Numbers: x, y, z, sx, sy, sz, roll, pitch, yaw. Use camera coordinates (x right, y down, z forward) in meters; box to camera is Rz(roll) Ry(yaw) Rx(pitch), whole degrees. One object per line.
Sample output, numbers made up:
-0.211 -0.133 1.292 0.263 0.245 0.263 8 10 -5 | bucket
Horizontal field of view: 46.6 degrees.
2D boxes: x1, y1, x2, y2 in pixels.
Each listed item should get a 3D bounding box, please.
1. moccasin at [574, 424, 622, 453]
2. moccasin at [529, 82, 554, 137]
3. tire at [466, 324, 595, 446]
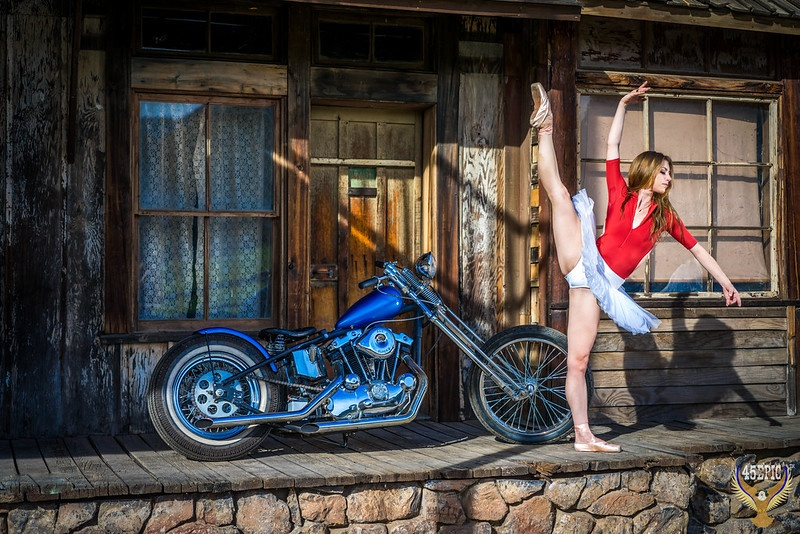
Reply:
1.616 1.356 7.372 0.418 0.319 0.167 -2 -2 5 | moccasin
1.106 -1.246 7.229 0.147 0.519 0.181 7 15 40 | moccasin
1.132 0.996 7.756 0.810 0.997 0.173 0 2 -8 | tire
